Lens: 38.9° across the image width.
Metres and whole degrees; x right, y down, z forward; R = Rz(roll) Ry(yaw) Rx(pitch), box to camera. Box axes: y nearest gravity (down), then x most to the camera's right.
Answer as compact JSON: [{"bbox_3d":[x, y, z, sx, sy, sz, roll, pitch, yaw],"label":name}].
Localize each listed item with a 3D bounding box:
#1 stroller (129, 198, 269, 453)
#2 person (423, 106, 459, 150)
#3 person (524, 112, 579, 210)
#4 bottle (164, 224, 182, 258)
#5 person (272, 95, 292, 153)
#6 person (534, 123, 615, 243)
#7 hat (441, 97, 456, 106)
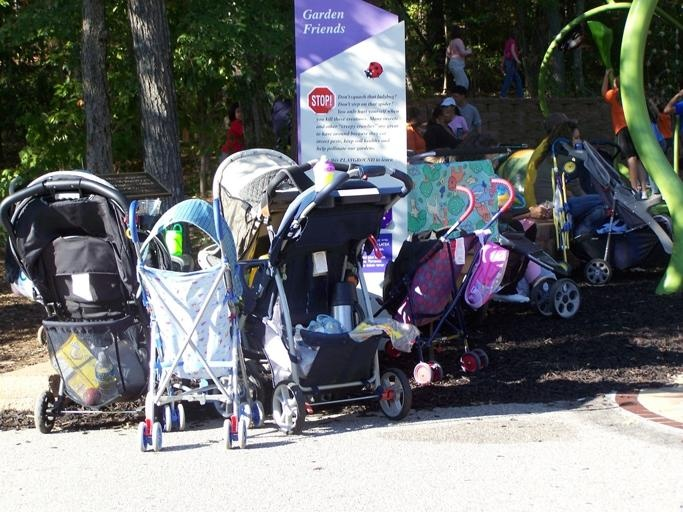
[{"bbox_3d":[-1.217,0.491,8.185,1.037,1.986,1.245,-3,13,-7],"label":"stroller"},{"bbox_3d":[1.441,-1.876,14.017,0.476,0.571,0.715,-1,14,2],"label":"person"},{"bbox_3d":[2.972,-1.476,13.924,0.323,1.448,0.900,13,11,39],"label":"person"},{"bbox_3d":[-1.654,-0.199,9.484,0.163,0.384,0.183,-1,2,36],"label":"bottle"},{"bbox_3d":[-0.966,-2.133,14.908,0.201,0.827,0.197,3,-14,-4],"label":"person"},{"bbox_3d":[3.216,-1.355,13.051,1.060,1.202,0.741,-12,17,15],"label":"person"},{"bbox_3d":[1.595,-2.305,14.421,0.192,0.111,0.275,2,10,-1],"label":"hat"}]
